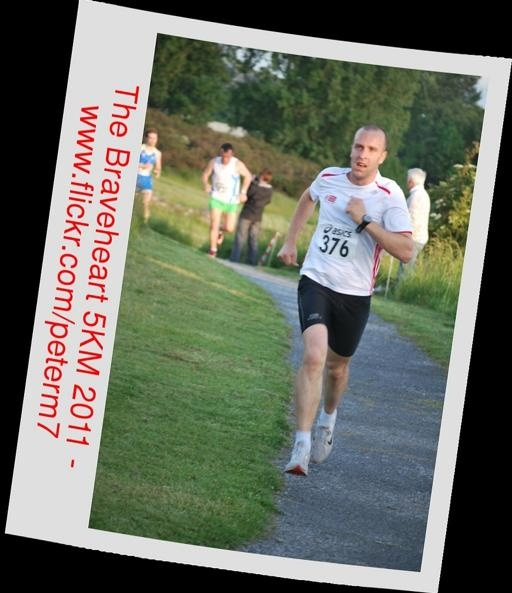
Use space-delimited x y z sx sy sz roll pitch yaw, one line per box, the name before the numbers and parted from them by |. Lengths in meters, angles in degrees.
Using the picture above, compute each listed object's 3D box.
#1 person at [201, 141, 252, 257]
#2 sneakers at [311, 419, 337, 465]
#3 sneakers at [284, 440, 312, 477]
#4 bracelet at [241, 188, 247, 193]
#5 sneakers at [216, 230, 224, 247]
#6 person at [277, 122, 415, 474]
person | -0.280 -0.746 5.553 0.349 0.813 0.181 11 4 -38
sneakers | 0.473 0.977 4.644 0.109 0.327 0.125 5 -13 4
sneakers | 0.270 0.952 4.033 0.159 0.206 0.116 13 4 -20
bracelet | -0.096 -0.860 5.563 0.036 0.028 0.037 2 1 9
sneakers | -0.288 -0.485 5.687 0.038 0.115 0.079 12 1 -2
person | 0.484 0.035 4.345 0.750 2.134 0.867 13 4 0
